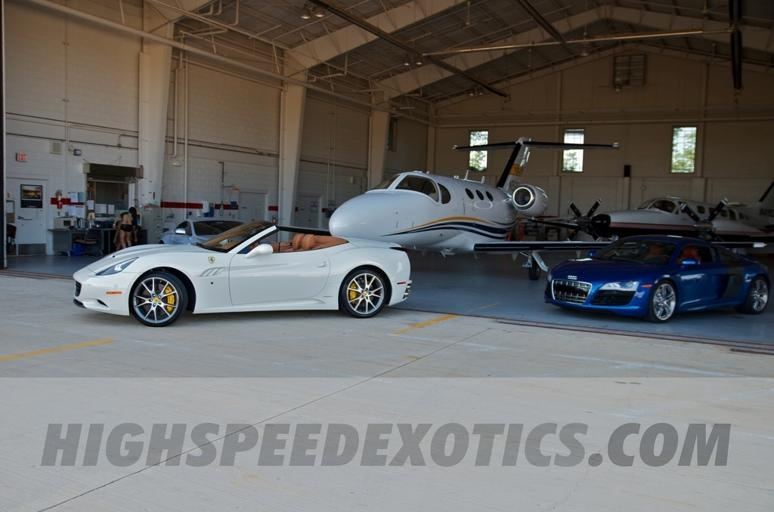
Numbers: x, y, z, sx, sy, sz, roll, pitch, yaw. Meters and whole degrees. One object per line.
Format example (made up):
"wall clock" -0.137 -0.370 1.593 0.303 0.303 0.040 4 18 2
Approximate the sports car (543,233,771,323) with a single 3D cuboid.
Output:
"sports car" 4.874 0.404 8.826 3.398 0.896 1.761 3 -4 -21

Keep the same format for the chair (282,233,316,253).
"chair" -1.394 -0.212 7.940 0.394 0.301 0.351 14 0 39
